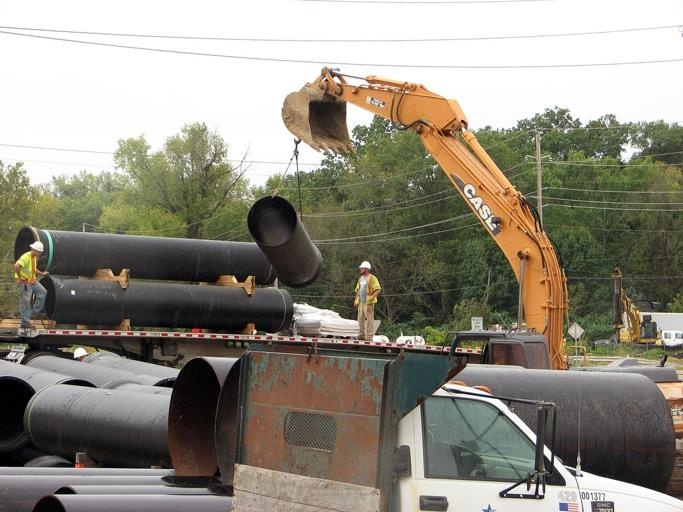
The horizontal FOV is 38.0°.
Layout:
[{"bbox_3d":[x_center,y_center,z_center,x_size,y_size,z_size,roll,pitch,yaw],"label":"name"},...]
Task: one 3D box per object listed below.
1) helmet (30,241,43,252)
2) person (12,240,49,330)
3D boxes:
[{"bbox_3d":[-5.637,-0.179,18.311,0.225,0.141,0.245,-1,1,-18],"label":"helmet"},{"bbox_3d":[-5.819,0.539,18.561,0.555,1.111,0.955,-1,1,-19],"label":"person"}]
